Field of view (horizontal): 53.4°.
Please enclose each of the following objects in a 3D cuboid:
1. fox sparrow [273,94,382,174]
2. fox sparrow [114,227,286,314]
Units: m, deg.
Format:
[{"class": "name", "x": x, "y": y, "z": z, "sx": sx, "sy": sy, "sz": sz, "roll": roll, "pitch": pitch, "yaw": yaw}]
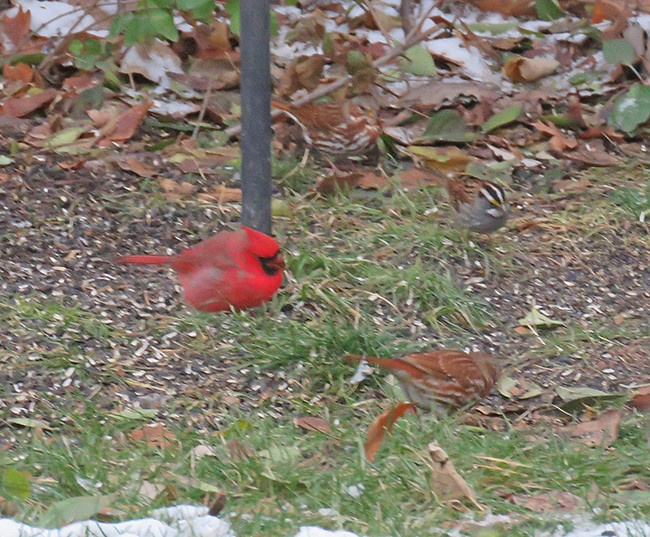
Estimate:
[{"class": "fox sparrow", "x": 0.094, "y": -0.883, "z": 4.387, "sx": 0.265, "sy": 0.403, "sz": 0.698, "roll": 23, "pitch": 41, "yaw": 24}, {"class": "fox sparrow", "x": -0.622, "y": 0.003, "z": 3.345, "sx": 1.041, "sy": 0.383, "sz": 0.376, "roll": 4, "pitch": 16, "yaw": 24}]
